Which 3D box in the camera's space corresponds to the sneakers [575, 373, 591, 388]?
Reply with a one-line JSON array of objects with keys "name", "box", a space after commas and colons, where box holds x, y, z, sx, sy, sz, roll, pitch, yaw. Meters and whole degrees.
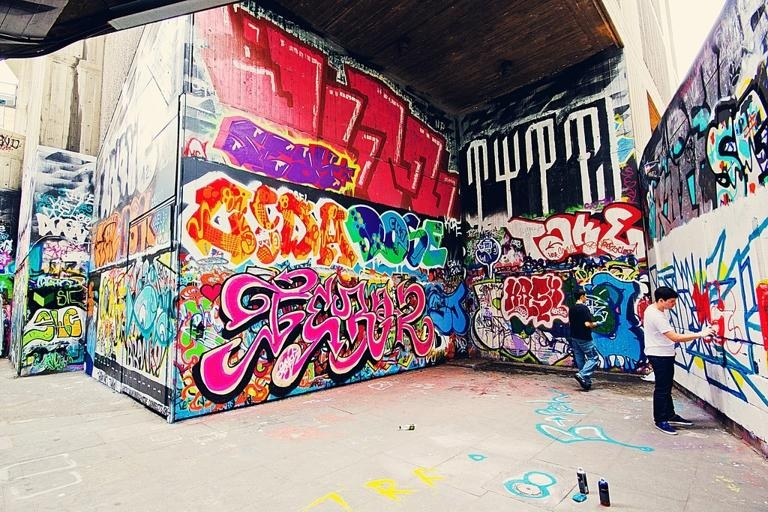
[{"name": "sneakers", "box": [4.662, 2.881, 11.876, 0.162, 0.132, 0.383, -5, 39, -5]}]

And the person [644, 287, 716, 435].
[{"name": "person", "box": [5.388, 1.913, 9.544, 0.871, 2.625, 0.834, 1, 13, 10]}]

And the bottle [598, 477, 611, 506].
[{"name": "bottle", "box": [3.477, 3.630, 7.986, 0.191, 0.400, 0.289, 4, 14, 22]}]

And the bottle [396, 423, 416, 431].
[{"name": "bottle", "box": [0.449, 3.301, 9.926, 0.353, 0.062, 0.289, -1, 14, 2]}]

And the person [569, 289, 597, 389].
[{"name": "person", "box": [4.697, 1.950, 11.952, 0.572, 2.296, 0.911, -1, 13, 3]}]
